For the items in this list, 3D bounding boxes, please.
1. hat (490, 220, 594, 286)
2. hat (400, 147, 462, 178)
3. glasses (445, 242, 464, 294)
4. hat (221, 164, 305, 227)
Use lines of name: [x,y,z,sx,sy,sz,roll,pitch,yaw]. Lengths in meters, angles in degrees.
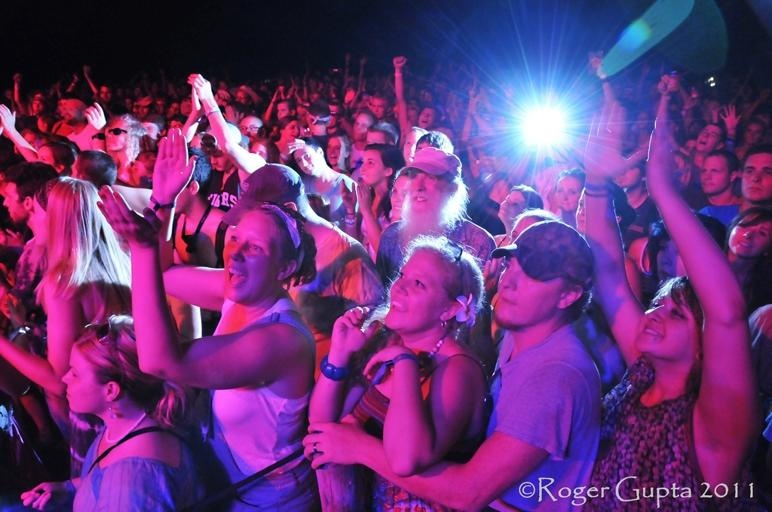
hat: [1.093,-0.012,4.203,0.513,0.277,0.361,22,6,-2]
hat: [0.460,-0.803,5.682,0.254,0.127,0.373,11,6,42]
glasses: [0.477,0.058,4.294,0.084,0.266,0.188,-3,-23,34]
hat: [-0.934,-0.499,4.991,0.617,0.331,0.391,-23,28,-15]
